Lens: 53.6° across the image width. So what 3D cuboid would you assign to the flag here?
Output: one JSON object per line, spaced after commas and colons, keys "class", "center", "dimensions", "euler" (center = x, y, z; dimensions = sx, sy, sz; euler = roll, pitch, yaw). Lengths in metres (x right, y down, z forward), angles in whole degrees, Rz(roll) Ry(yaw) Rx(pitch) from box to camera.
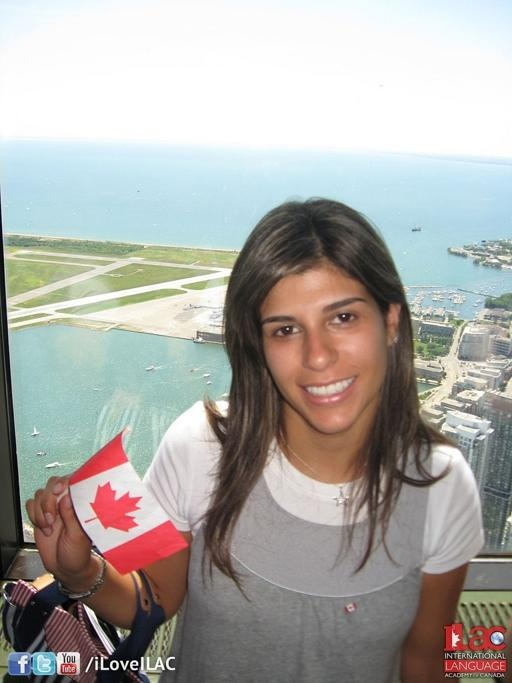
{"class": "flag", "center": [-0.198, 0.228, 0.730], "dimensions": [0.192, 0.187, 0.096], "euler": [9, 13, 42]}
